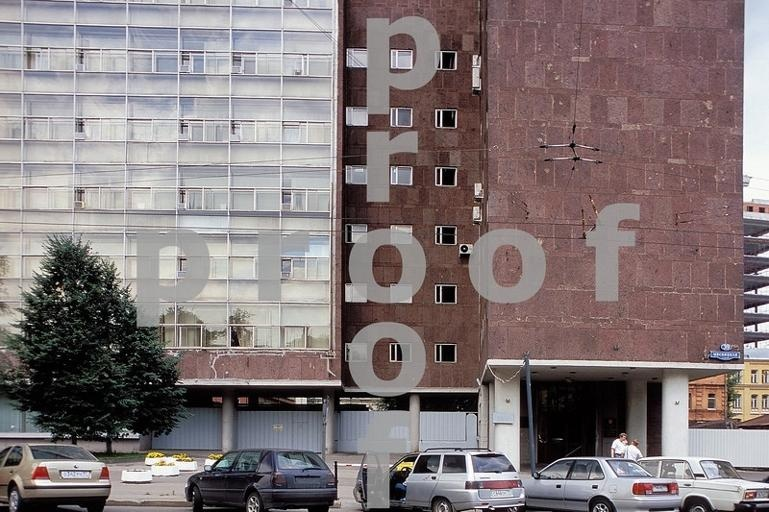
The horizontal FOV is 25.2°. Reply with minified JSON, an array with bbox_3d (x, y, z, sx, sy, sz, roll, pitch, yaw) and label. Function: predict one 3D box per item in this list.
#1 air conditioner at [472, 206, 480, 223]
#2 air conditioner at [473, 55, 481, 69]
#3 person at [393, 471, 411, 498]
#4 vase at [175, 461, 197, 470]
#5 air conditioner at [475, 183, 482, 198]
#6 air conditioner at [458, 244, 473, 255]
[{"bbox_3d":[6.024,-2.872,115.306,0.649,0.915,0.219,0,-7,14],"label":"air conditioner"},{"bbox_3d":[6.042,-13.144,116.241,0.669,0.958,0.428,-4,-8,23],"label":"air conditioner"},{"bbox_3d":[0.728,11.632,88.454,1.188,1.262,0.932,-2,-8,23],"label":"person"},{"bbox_3d":[-11.338,11.968,99.173,0.638,0.266,0.698,-1,-2,45],"label":"vase"},{"bbox_3d":[6.135,-4.454,115.266,0.403,0.958,0.654,0,-8,-7],"label":"air conditioner"},{"bbox_3d":[5.340,-0.434,115.563,1.105,0.768,0.594,0,-11,-5],"label":"air conditioner"}]
